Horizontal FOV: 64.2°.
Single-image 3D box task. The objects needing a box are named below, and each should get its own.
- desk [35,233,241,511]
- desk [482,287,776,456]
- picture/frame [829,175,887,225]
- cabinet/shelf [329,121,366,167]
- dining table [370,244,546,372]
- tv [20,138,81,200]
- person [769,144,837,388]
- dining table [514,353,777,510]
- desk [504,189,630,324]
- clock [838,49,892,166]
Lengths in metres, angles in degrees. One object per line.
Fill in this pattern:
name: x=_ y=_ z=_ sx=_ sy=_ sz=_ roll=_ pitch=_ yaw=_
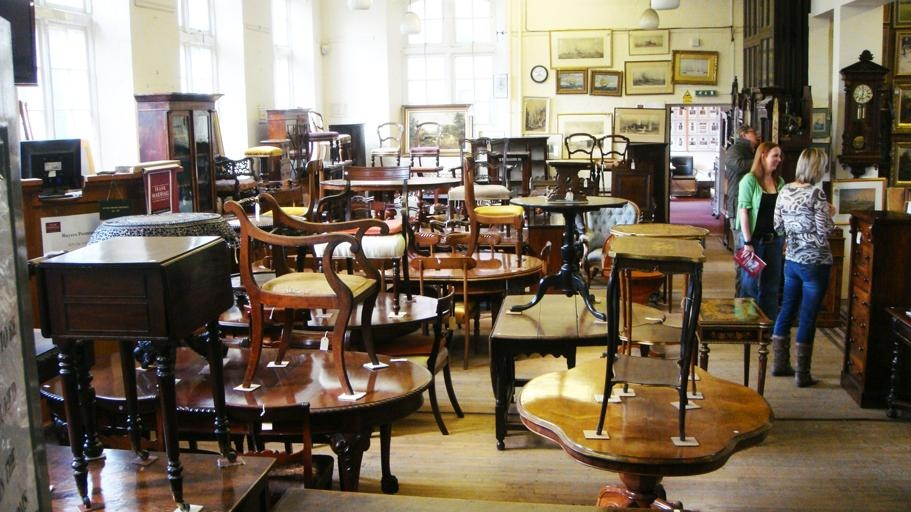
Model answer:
desk: x=-1.849 y=0.717 z=4.462 sx=1.085 sy=1.588 sz=0.615 roll=-10 pitch=12 yaw=-27
desk: x=1.014 y=0.831 z=6.645 sx=1.382 sy=0.915 sz=1.827 roll=0 pitch=9 yaw=7
picture/frame: x=4.683 y=-0.638 z=8.463 sx=0.706 sy=0.628 sz=0.050 roll=1 pitch=7 yaw=9
cabinet/shelf: x=-2.085 y=-2.353 z=15.063 sx=0.686 sy=0.874 sz=0.711 roll=13 pitch=4 yaw=32
dining table: x=0.277 y=0.413 z=8.283 sx=1.583 sy=0.873 sz=1.400 roll=0 pitch=6 yaw=7
tv: x=-3.747 y=-0.819 z=6.786 sx=0.531 sy=0.525 sz=0.253 roll=-11 pitch=12 yaw=-34
person: x=3.460 y=0.116 z=7.272 sx=0.543 sy=2.349 sz=0.436 roll=3 pitch=13 yaw=37
dining table: x=1.345 y=1.178 z=5.029 sx=1.282 sy=0.752 sz=1.228 roll=-1 pitch=12 yaw=1
desk: x=0.996 y=0.021 z=7.054 sx=1.303 sy=1.118 sz=1.249 roll=-4 pitch=12 yaw=-23
clock: x=5.404 y=-1.898 z=9.654 sx=0.524 sy=1.611 sz=0.322 roll=0 pitch=11 yaw=21
